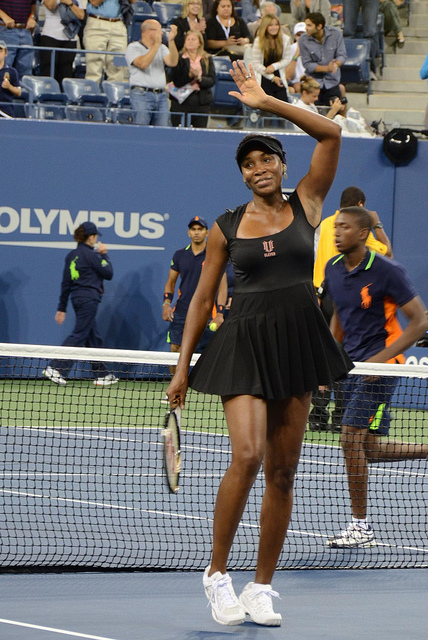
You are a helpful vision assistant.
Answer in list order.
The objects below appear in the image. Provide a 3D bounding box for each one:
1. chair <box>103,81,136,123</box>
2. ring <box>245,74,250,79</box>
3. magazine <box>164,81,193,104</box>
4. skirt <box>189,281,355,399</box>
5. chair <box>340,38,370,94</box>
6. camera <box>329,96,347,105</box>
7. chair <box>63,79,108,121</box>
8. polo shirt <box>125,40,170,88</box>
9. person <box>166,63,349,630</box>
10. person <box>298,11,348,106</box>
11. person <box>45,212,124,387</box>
[{"bbox_3d":[-1.501,-3.537,12.985,0.572,0.654,0.640,-5,23,-4],"label":"chair"},{"bbox_3d":[0.127,-0.923,3.037,0.022,0.019,0.005,-3,4,-16],"label":"ring"},{"bbox_3d":[-0.548,-3.498,12.276,0.290,0.307,0.080,-27,26,31],"label":"magazine"},{"bbox_3d":[0.209,0.057,3.166,0.690,0.438,0.421,-4,4,-17],"label":"skirt"},{"bbox_3d":[2.785,-5.106,15.664,0.530,0.757,0.812,2,0,9],"label":"chair"},{"bbox_3d":[2.072,-3.635,13.083,0.346,0.104,0.337,0,-3,9],"label":"camera"},{"bbox_3d":[-1.955,-3.379,12.641,0.525,0.579,0.524,0,10,-35],"label":"chair"},{"bbox_3d":[-0.987,-3.798,11.783,0.628,0.706,0.411,2,1,-7],"label":"polo shirt"},{"bbox_3d":[0.147,0.117,3.048,0.675,1.506,0.425,2,1,8],"label":"person"},{"bbox_3d":[1.903,-4.190,13.767,0.763,2.109,0.668,-1,34,12],"label":"person"},{"bbox_3d":[-1.872,-0.340,11.401,0.849,2.526,1.563,2,1,-8],"label":"person"}]
